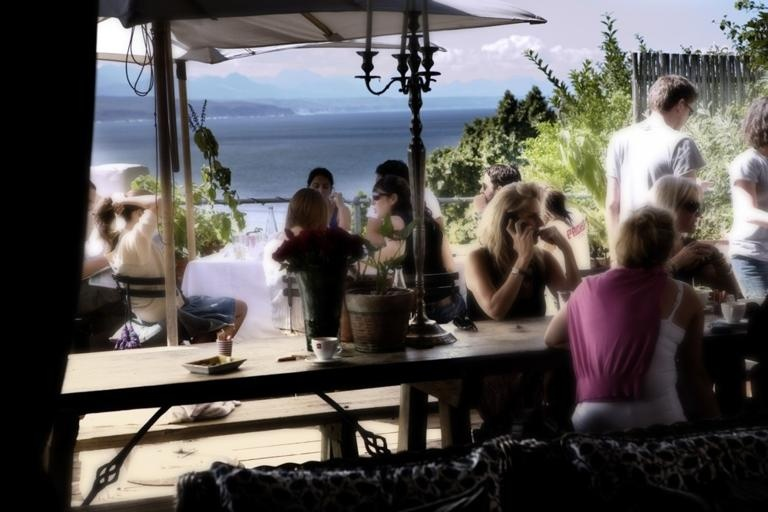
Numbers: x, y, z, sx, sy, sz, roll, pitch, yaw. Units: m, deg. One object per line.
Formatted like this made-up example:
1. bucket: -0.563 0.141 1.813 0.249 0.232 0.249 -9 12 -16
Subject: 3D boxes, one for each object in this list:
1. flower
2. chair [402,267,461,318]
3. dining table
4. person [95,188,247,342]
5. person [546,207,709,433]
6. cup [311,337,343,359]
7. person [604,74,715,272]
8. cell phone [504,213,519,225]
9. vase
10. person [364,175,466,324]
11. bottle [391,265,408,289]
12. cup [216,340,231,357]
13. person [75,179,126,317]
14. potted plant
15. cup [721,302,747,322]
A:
1. flower: -0.252 -0.024 2.333 0.327 0.178 0.308 -8 -9 -45
2. chair: 0.203 0.160 2.809 0.267 0.328 0.235 -1 10 0
3. dining table: -1.070 0.231 4.606 0.879 0.455 0.889 -2 22 -6
4. person: -1.415 0.284 4.316 0.673 1.432 0.778 -16 -5 42
5. person: 1.051 0.278 2.602 0.699 0.837 0.683 7 -6 -8
6. cup: -0.204 0.318 2.233 0.085 0.058 0.071 0 1 -9
7. person: 1.758 -0.303 4.116 0.454 1.610 0.605 -9 16 -33
8. cell phone: 0.602 -0.184 2.985 0.040 0.066 0.068 0 -9 1
9. vase: -0.229 0.155 2.293 0.246 0.361 0.248 0 0 6
10. person: 0.178 0.036 3.604 0.479 1.051 0.333 -11 21 -3
11. bottle: 0.070 0.097 2.972 0.098 0.112 0.107 -1 1 1
12. cup: -0.594 0.343 2.380 0.053 0.061 0.054 2 1 0
13. person: -1.928 -0.269 4.360 0.173 0.819 0.559 15 -45 -39
14. potted plant: -0.018 0.111 2.416 0.279 0.460 0.287 -3 5 1
15. cup: 1.504 0.237 2.726 0.084 0.070 0.097 0 -5 1
